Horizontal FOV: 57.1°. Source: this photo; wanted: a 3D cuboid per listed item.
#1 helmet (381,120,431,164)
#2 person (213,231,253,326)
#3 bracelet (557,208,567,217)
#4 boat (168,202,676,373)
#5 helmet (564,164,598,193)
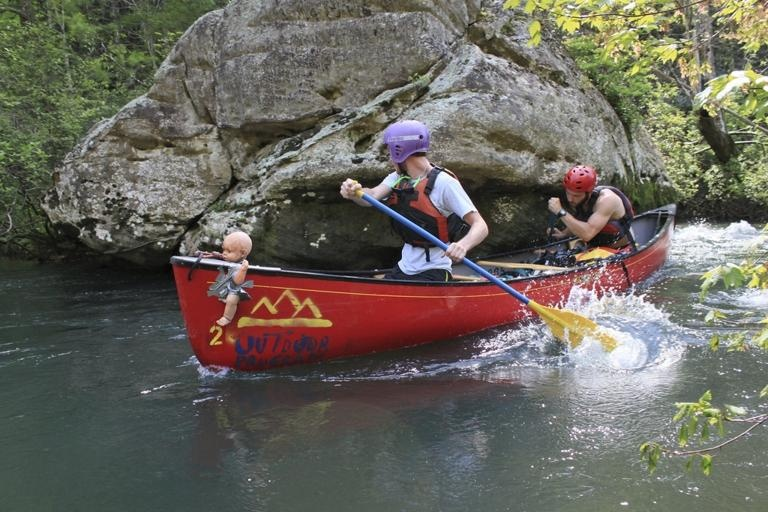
[{"bbox_3d":[0.230,-1.201,7.447,0.403,0.453,0.183,2,9,27],"label":"helmet"},{"bbox_3d":[-1.474,0.237,6.915,0.373,0.924,0.198,-2,8,-5],"label":"person"},{"bbox_3d":[2.256,-0.547,9.039,0.132,0.070,0.120,-32,-6,21],"label":"bracelet"},{"bbox_3d":[0.910,0.291,8.429,8.738,1.006,1.739,-5,0,-29],"label":"boat"},{"bbox_3d":[2.479,-0.957,9.015,0.365,0.241,0.439,22,44,27],"label":"helmet"}]
